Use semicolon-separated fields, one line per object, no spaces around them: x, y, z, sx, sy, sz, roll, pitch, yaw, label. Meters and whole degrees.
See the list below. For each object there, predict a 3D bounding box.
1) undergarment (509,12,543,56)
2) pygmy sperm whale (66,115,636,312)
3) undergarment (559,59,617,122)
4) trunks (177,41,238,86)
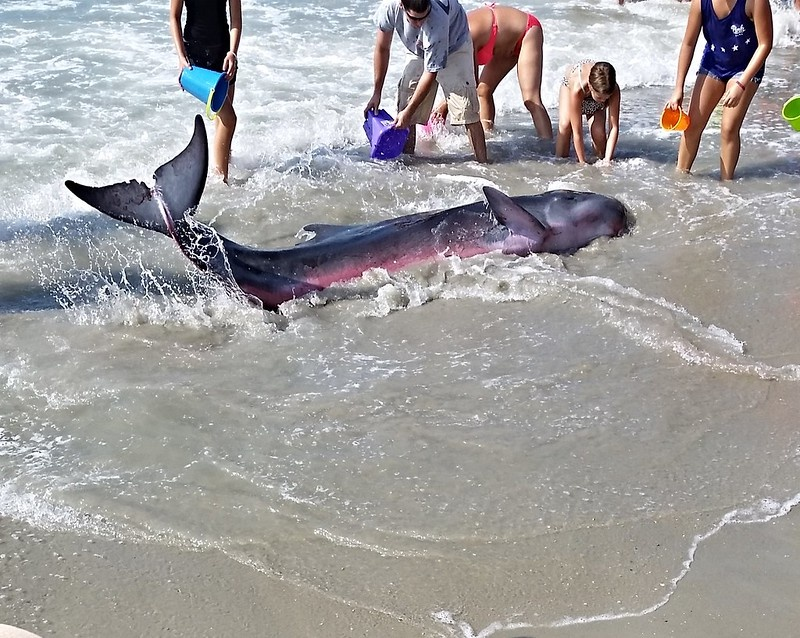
1.267;-2.888;9.884;0.223;0.399;0.312;16;19;-39;undergarment
-0.238;-0.897;7.001;3.497;0.997;1.558;-14;20;-5;pygmy sperm whale
1.762;-2.185;9.084;0.413;0.271;0.573;-22;56;-9;undergarment
-1.638;-2.189;8.297;0.611;0.392;0.406;-7;20;-35;trunks
